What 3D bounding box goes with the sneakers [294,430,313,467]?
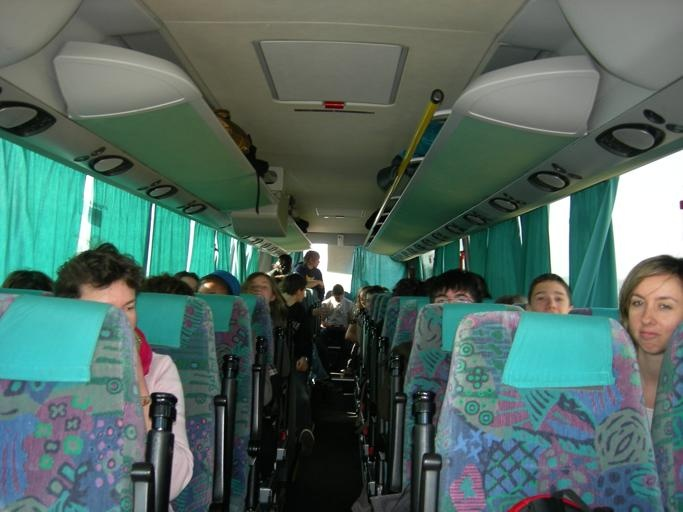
[{"bbox_3d":[-0.317,1.673,4.399,0.098,0.276,0.110,15,-6,-16],"label":"sneakers"}]
